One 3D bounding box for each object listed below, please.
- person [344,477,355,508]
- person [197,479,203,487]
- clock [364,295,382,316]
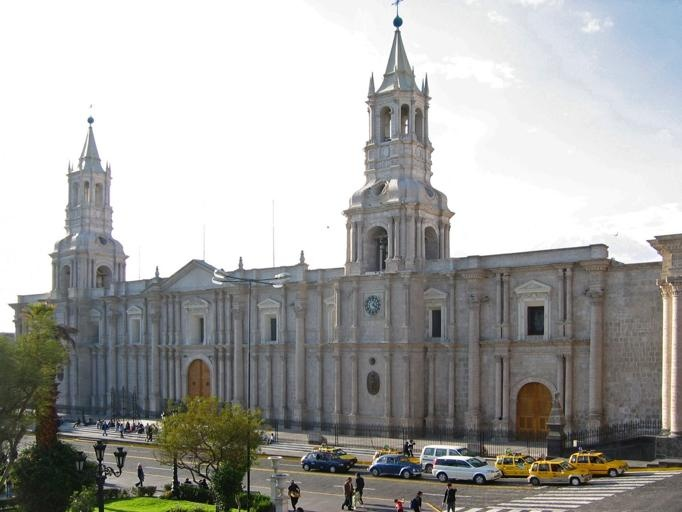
[{"bbox_3d":[0.481,14.023,86.497,0.657,1.882,1.128,-2,-6,0],"label":"person"},{"bbox_3d":[-8.668,14.129,90.935,0.584,0.323,0.815,1,-3,-9],"label":"person"},{"bbox_3d":[2.381,3.580,105.742,0.298,1.429,1.526,3,-8,-40],"label":"clock"}]
